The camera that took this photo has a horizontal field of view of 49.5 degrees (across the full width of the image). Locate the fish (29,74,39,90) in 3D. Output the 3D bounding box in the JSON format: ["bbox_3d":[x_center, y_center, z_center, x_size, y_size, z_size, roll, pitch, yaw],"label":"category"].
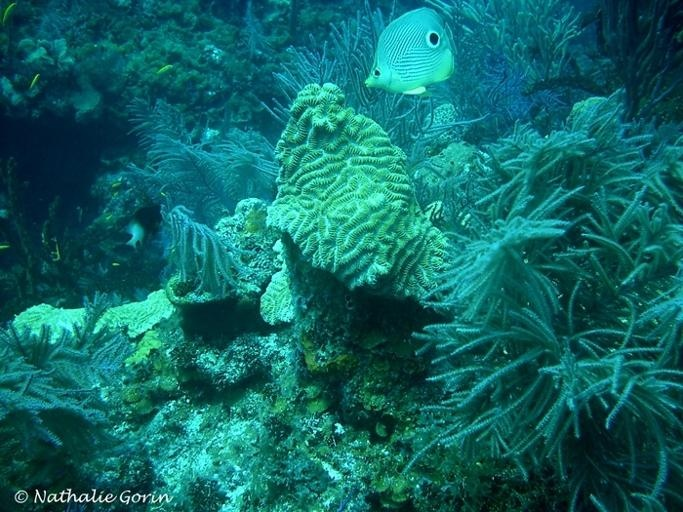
[{"bbox_3d":[-5.471,-3.105,13.165,0.052,0.096,0.253,26,82,37],"label":"fish"}]

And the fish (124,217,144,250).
[{"bbox_3d":[-3.321,-0.358,11.857,0.129,0.263,0.415,-2,86,-39],"label":"fish"}]

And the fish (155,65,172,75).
[{"bbox_3d":[-3.298,-3.471,13.822,0.193,0.064,0.226,-20,32,20],"label":"fish"}]
